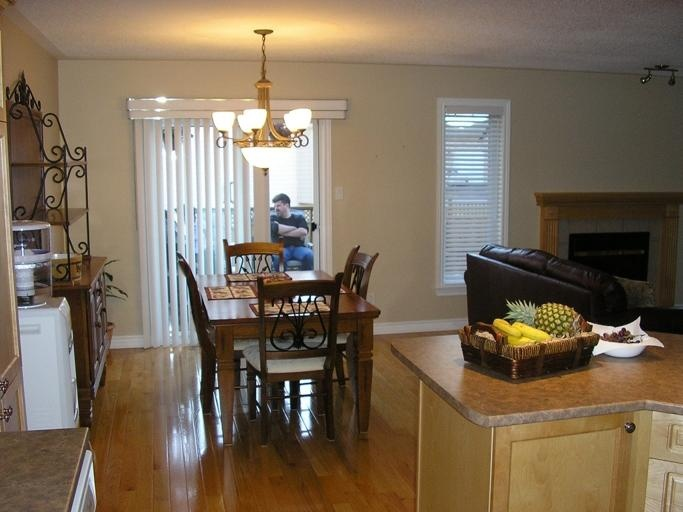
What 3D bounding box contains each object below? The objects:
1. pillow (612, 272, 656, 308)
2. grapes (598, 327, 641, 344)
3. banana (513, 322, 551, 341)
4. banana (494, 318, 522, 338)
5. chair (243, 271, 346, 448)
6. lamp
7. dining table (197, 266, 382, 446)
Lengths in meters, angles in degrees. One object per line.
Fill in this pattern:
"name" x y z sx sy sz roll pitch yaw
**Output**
"pillow" 2.501 0.319 4.947 0.308 0.263 0.358 -3 -2 -8
"grapes" 1.223 0.353 2.539 0.172 0.037 0.103 3 12 15
"banana" 0.769 0.314 2.354 0.133 0.043 0.068 15 11 27
"banana" 0.673 0.300 2.367 0.055 0.035 0.110 34 -9 -30
"chair" -0.270 0.847 3.826 0.617 1.142 0.781 -8 -41 7
"lamp" -0.594 -1.262 4.872 0.919 1.111 2.164 -3 12 -11
"dining table" -0.428 0.617 4.072 0.824 0.707 1.356 -2 4 -12
